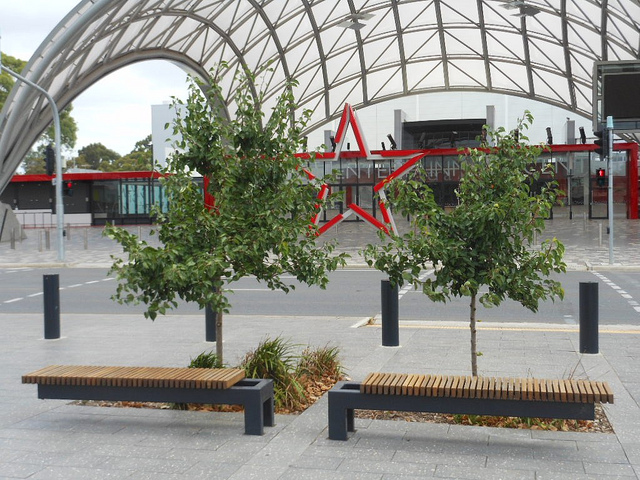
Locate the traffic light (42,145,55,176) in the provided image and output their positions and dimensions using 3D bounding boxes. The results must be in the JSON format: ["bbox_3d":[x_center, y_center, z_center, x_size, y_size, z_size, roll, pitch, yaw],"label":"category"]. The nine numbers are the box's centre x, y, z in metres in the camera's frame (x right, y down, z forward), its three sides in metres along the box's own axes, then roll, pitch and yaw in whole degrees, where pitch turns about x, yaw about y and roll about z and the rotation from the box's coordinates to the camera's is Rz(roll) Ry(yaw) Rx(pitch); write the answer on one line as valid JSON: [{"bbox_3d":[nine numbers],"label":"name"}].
[{"bbox_3d":[-12.978,-3.847,31.000,0.382,0.957,2.084,-3,3,-25],"label":"traffic light"}]

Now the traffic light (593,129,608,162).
[{"bbox_3d":[10.645,-3.667,24.483,0.438,1.015,1.903,-1,3,24],"label":"traffic light"}]
